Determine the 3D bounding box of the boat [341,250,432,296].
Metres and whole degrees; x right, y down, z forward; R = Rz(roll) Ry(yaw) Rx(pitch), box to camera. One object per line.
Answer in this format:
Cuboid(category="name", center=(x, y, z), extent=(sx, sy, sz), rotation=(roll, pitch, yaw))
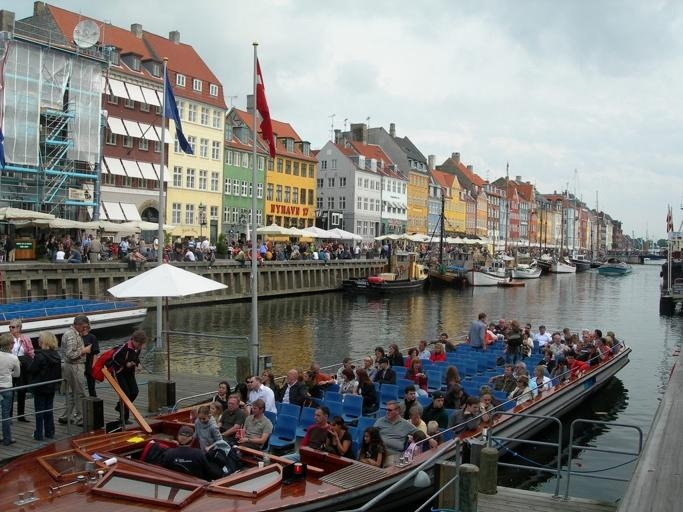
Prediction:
Cuboid(category="boat", center=(3.544, 1.411, 64.626), extent=(2.496, 2.233, 6.653), rotation=(-2, -2, 27))
